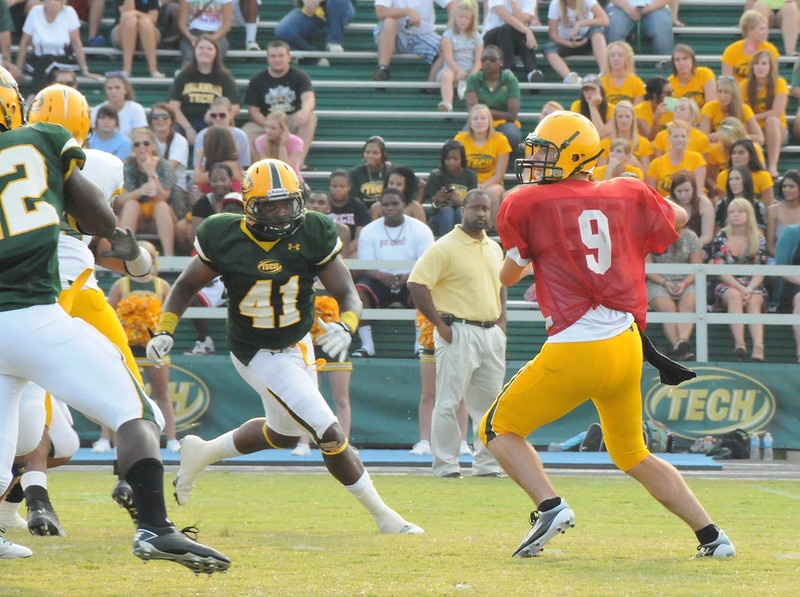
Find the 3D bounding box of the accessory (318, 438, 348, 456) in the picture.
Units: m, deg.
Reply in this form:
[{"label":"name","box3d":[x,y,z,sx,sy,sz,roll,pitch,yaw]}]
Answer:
[{"label":"accessory","box3d":[-0.492,1.157,13.512,0.223,0.134,0.186,1,5,-2]}]

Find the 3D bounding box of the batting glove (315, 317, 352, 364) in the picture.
[{"label":"batting glove","box3d":[-0.482,0.322,13.224,0.255,0.314,0.362,1,5,-3]}]

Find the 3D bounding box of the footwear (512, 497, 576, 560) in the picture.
[{"label":"footwear","box3d":[1.106,1.764,13.236,0.148,0.435,0.199,48,-2,-34]}]

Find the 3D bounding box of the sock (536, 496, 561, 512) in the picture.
[{"label":"sock","box3d":[1.120,1.535,13.042,0.157,0.058,0.095,-28,-5,16]}]

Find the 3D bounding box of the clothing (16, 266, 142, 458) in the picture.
[{"label":"clothing","box3d":[-2.334,0.524,13.559,1.067,1.312,0.485,-6,21,-10]}]

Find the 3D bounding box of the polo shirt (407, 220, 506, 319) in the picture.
[{"label":"polo shirt","box3d":[0.645,-0.227,16.291,1.192,0.887,0.552,-2,5,-39]}]

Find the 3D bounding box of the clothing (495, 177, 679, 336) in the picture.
[{"label":"clothing","box3d":[1.414,-0.284,13.410,1.444,1.224,0.702,-4,0,-7]}]

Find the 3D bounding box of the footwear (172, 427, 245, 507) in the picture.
[{"label":"footwear","box3d":[-1.585,1.392,14.241,0.611,0.660,0.287,5,6,35]}]

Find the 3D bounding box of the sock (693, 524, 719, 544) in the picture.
[{"label":"sock","box3d":[2.311,1.771,13.150,0.163,0.125,0.133,-26,-1,16]}]

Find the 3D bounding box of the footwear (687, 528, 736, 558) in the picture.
[{"label":"footwear","box3d":[2.385,1.838,13.106,0.327,0.203,0.183,1,5,-2]}]

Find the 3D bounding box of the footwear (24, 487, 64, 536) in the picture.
[{"label":"footwear","box3d":[-2.739,1.671,13.567,0.210,0.389,0.553,-11,-20,4]}]

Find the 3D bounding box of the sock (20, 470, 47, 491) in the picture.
[{"label":"sock","box3d":[-2.806,1.409,13.499,0.159,0.107,0.155,-5,-6,16]}]

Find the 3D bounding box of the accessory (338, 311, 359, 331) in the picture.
[{"label":"accessory","box3d":[-0.363,0.187,13.362,0.120,0.143,0.149,-2,-10,-27]}]
